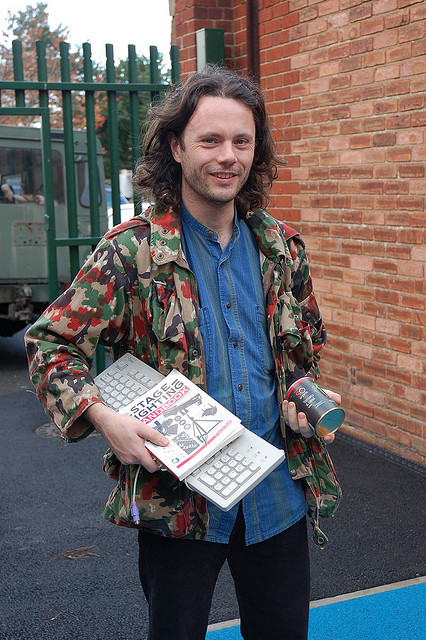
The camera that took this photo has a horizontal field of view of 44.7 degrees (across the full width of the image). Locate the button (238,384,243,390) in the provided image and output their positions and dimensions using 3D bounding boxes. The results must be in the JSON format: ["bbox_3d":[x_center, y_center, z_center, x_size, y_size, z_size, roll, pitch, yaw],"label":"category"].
[{"bbox_3d":[0.061,0.154,1.189,0.013,0.013,0.003,-4,4,-3],"label":"button"}]

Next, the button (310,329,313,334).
[{"bbox_3d":[0.261,0.028,1.374,0.002,0.007,0.007,16,-13,-9],"label":"button"}]

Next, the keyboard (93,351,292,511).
[{"bbox_3d":[-0.067,0.246,1.246,0.233,0.031,0.552,13,5,-24],"label":"keyboard"}]

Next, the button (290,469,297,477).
[{"bbox_3d":[0.197,0.377,1.271,0.016,0.023,0.013,-5,-20,18],"label":"button"}]

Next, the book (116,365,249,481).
[{"bbox_3d":[-0.070,0.211,1.040,0.257,0.029,0.239,-21,54,-36],"label":"book"}]

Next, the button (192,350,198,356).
[{"bbox_3d":[-0.040,0.074,1.150,0.013,0.013,0.004,1,-4,-11],"label":"button"}]

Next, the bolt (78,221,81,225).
[{"bbox_3d":[-1.959,-1.436,7.625,0.078,0.073,0.077,-2,-6,-9],"label":"bolt"}]

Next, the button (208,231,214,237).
[{"bbox_3d":[-0.006,-0.212,1.261,0.013,0.013,0.004,1,-1,0],"label":"button"}]

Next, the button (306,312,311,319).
[{"bbox_3d":[0.259,-0.012,1.404,0.012,0.017,0.007,-2,5,-12],"label":"button"}]

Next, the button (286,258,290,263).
[{"bbox_3d":[0.192,-0.156,1.336,0.014,0.013,0.004,0,-3,14],"label":"button"}]

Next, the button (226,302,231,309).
[{"bbox_3d":[0.037,-0.035,1.232,0.013,0.015,0.003,-4,6,-32],"label":"button"}]

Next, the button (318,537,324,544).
[{"bbox_3d":[0.277,0.570,1.334,0.015,0.016,0.004,-30,-17,23],"label":"button"}]

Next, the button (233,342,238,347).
[{"bbox_3d":[0.051,0.056,1.207,0.011,0.010,0.003,1,-2,-8],"label":"button"}]

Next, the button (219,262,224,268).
[{"bbox_3d":[0.021,-0.135,1.260,0.011,0.014,0.004,0,-4,-5],"label":"button"}]

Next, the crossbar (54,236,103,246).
[{"bbox_3d":[-1.142,-0.645,4.261,0.511,0.072,0.051,-3,3,-25],"label":"crossbar"}]

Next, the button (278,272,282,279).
[{"bbox_3d":[0.173,-0.115,1.338,0.010,0.015,0.004,-1,-16,0],"label":"button"}]

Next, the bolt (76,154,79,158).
[{"bbox_3d":[-1.929,-2.358,7.385,0.051,0.048,0.013,7,3,23],"label":"bolt"}]

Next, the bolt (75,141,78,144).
[{"bbox_3d":[-1.936,-2.542,7.356,0.052,0.048,0.013,7,-1,19],"label":"bolt"}]
